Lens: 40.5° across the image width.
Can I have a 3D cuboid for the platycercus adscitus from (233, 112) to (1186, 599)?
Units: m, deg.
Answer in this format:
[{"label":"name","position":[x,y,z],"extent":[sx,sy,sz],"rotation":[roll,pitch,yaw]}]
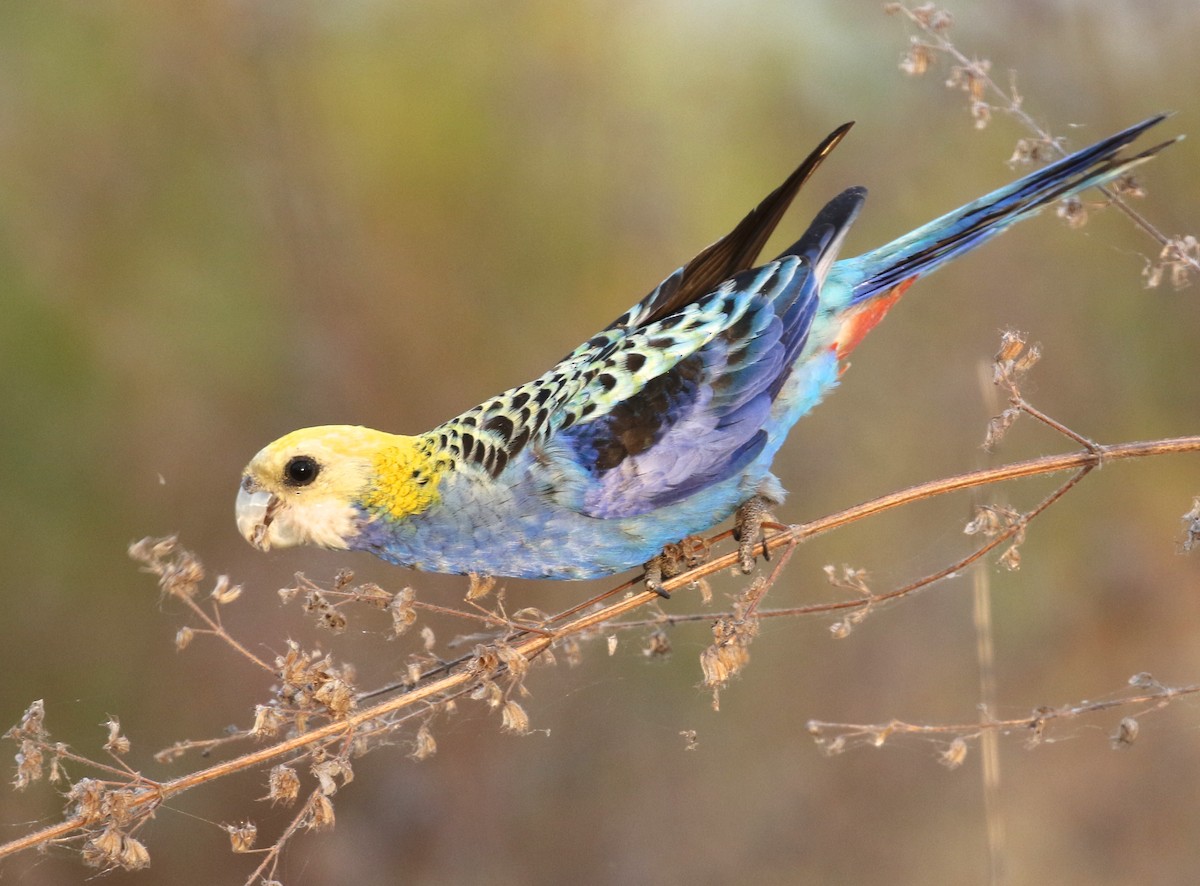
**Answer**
[{"label":"platycercus adscitus","position":[0.300,-0.088,3.629],"extent":[2.178,0.573,0.819],"rotation":[-29,101,-17]}]
